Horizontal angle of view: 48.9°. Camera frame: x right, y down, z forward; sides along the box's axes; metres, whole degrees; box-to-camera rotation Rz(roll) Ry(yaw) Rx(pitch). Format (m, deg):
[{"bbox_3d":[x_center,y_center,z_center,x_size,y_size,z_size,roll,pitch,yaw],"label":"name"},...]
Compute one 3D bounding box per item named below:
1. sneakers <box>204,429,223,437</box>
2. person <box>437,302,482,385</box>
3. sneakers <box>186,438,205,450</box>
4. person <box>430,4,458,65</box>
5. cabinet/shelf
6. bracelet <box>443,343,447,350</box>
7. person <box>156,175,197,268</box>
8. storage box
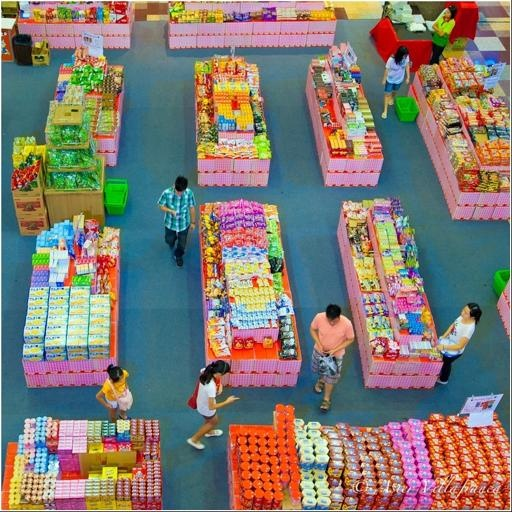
[{"bbox_3d":[-0.669,2.810,8.985,0.291,0.126,0.119,-6,47,-5],"label":"sneakers"},{"bbox_3d":[3.646,1.611,10.035,0.428,1.380,0.524,6,60,-1],"label":"person"},{"bbox_3d":[-0.931,2.927,8.822,0.278,0.117,0.151,35,15,-15],"label":"sneakers"},{"bbox_3d":[5.323,-6.323,16.208,0.528,1.712,0.672,19,45,16],"label":"person"},{"bbox_3d":[-3.650,-1.744,11.282,1.123,2.223,1.739,0,64,-6],"label":"cabinet/shelf"},{"bbox_3d":[3.153,1.487,9.371,0.027,0.089,0.097,6,84,-26],"label":"bracelet"},{"bbox_3d":[-1.562,-0.870,11.241,0.673,2.107,0.922,-4,43,-8],"label":"person"},{"bbox_3d":[-4.552,-1.353,11.351,0.488,1.499,1.553,-1,55,-5],"label":"storage box"}]
